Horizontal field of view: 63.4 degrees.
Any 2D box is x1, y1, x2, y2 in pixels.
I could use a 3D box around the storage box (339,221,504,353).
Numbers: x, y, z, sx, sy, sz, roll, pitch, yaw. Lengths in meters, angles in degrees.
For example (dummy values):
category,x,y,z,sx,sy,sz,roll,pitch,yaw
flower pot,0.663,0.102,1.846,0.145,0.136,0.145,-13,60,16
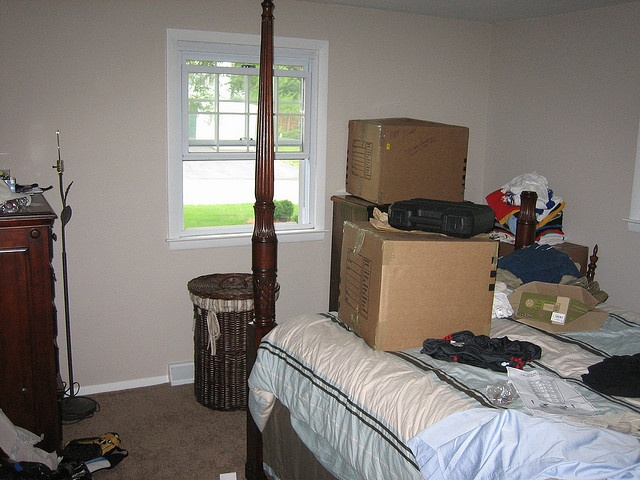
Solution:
category,x,y,z,sx,sy,sz,roll,pitch,yaw
storage box,0.462,0.221,2.622,0.606,0.605,0.472,3,6,-19
